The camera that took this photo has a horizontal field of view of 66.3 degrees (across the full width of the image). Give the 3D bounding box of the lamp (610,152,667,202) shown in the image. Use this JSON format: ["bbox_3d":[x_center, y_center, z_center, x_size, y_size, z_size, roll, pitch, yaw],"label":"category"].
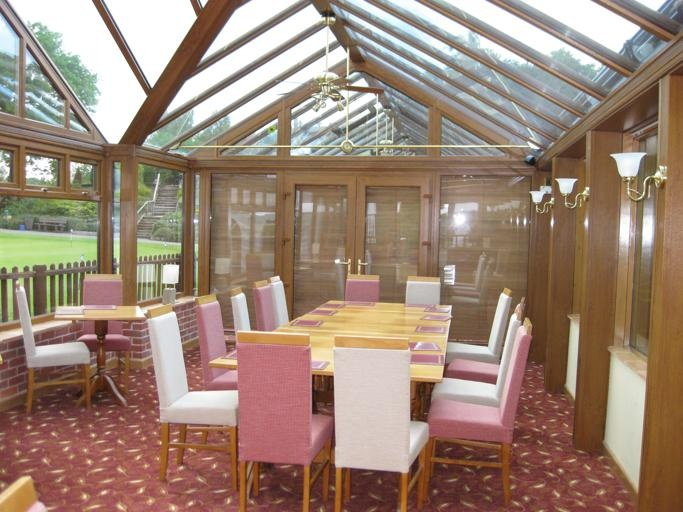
[{"bbox_3d":[2.131,-0.548,3.779,0.430,0.294,0.231,8,-16,-1],"label":"lamp"}]

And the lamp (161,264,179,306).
[{"bbox_3d":[-2.426,0.412,7.370,0.328,0.548,0.321,3,-5,-40],"label":"lamp"}]

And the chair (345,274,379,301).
[{"bbox_3d":[0.302,0.429,7.193,0.476,0.438,0.337,3,8,7],"label":"chair"}]

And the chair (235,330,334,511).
[{"bbox_3d":[-0.411,1.184,3.747,0.689,1.369,0.549,0,4,-3],"label":"chair"}]

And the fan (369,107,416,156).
[{"bbox_3d":[0.662,-1.870,7.822,0.389,0.517,0.455,7,18,25],"label":"fan"}]

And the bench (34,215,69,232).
[{"bbox_3d":[-3.451,-0.369,6.204,0.065,0.199,0.469,1,4,17],"label":"bench"}]

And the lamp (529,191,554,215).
[{"bbox_3d":[2.677,-0.697,6.953,0.317,0.364,0.543,0,-2,29],"label":"lamp"}]

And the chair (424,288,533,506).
[{"bbox_3d":[1.111,1.156,4.242,0.749,1.368,0.762,1,4,14],"label":"chair"}]

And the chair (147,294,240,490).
[{"bbox_3d":[-1.169,1.083,4.292,0.746,1.390,0.724,0,4,-2],"label":"chair"}]

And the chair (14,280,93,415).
[{"bbox_3d":[-3.046,0.929,5.571,0.633,1.282,0.771,-2,5,-28],"label":"chair"}]

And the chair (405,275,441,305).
[{"bbox_3d":[1.148,0.451,6.948,0.398,0.533,0.398,1,-3,12],"label":"chair"}]

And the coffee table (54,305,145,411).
[{"bbox_3d":[-2.710,1.041,5.850,1.154,1.013,1.109,2,13,-15],"label":"coffee table"}]

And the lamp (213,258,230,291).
[{"bbox_3d":[-1.893,0.284,8.281,0.274,0.528,0.078,1,5,18],"label":"lamp"}]

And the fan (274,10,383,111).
[{"bbox_3d":[-0.162,-2.016,5.342,1.122,0.886,0.985,-6,10,-38],"label":"fan"}]
